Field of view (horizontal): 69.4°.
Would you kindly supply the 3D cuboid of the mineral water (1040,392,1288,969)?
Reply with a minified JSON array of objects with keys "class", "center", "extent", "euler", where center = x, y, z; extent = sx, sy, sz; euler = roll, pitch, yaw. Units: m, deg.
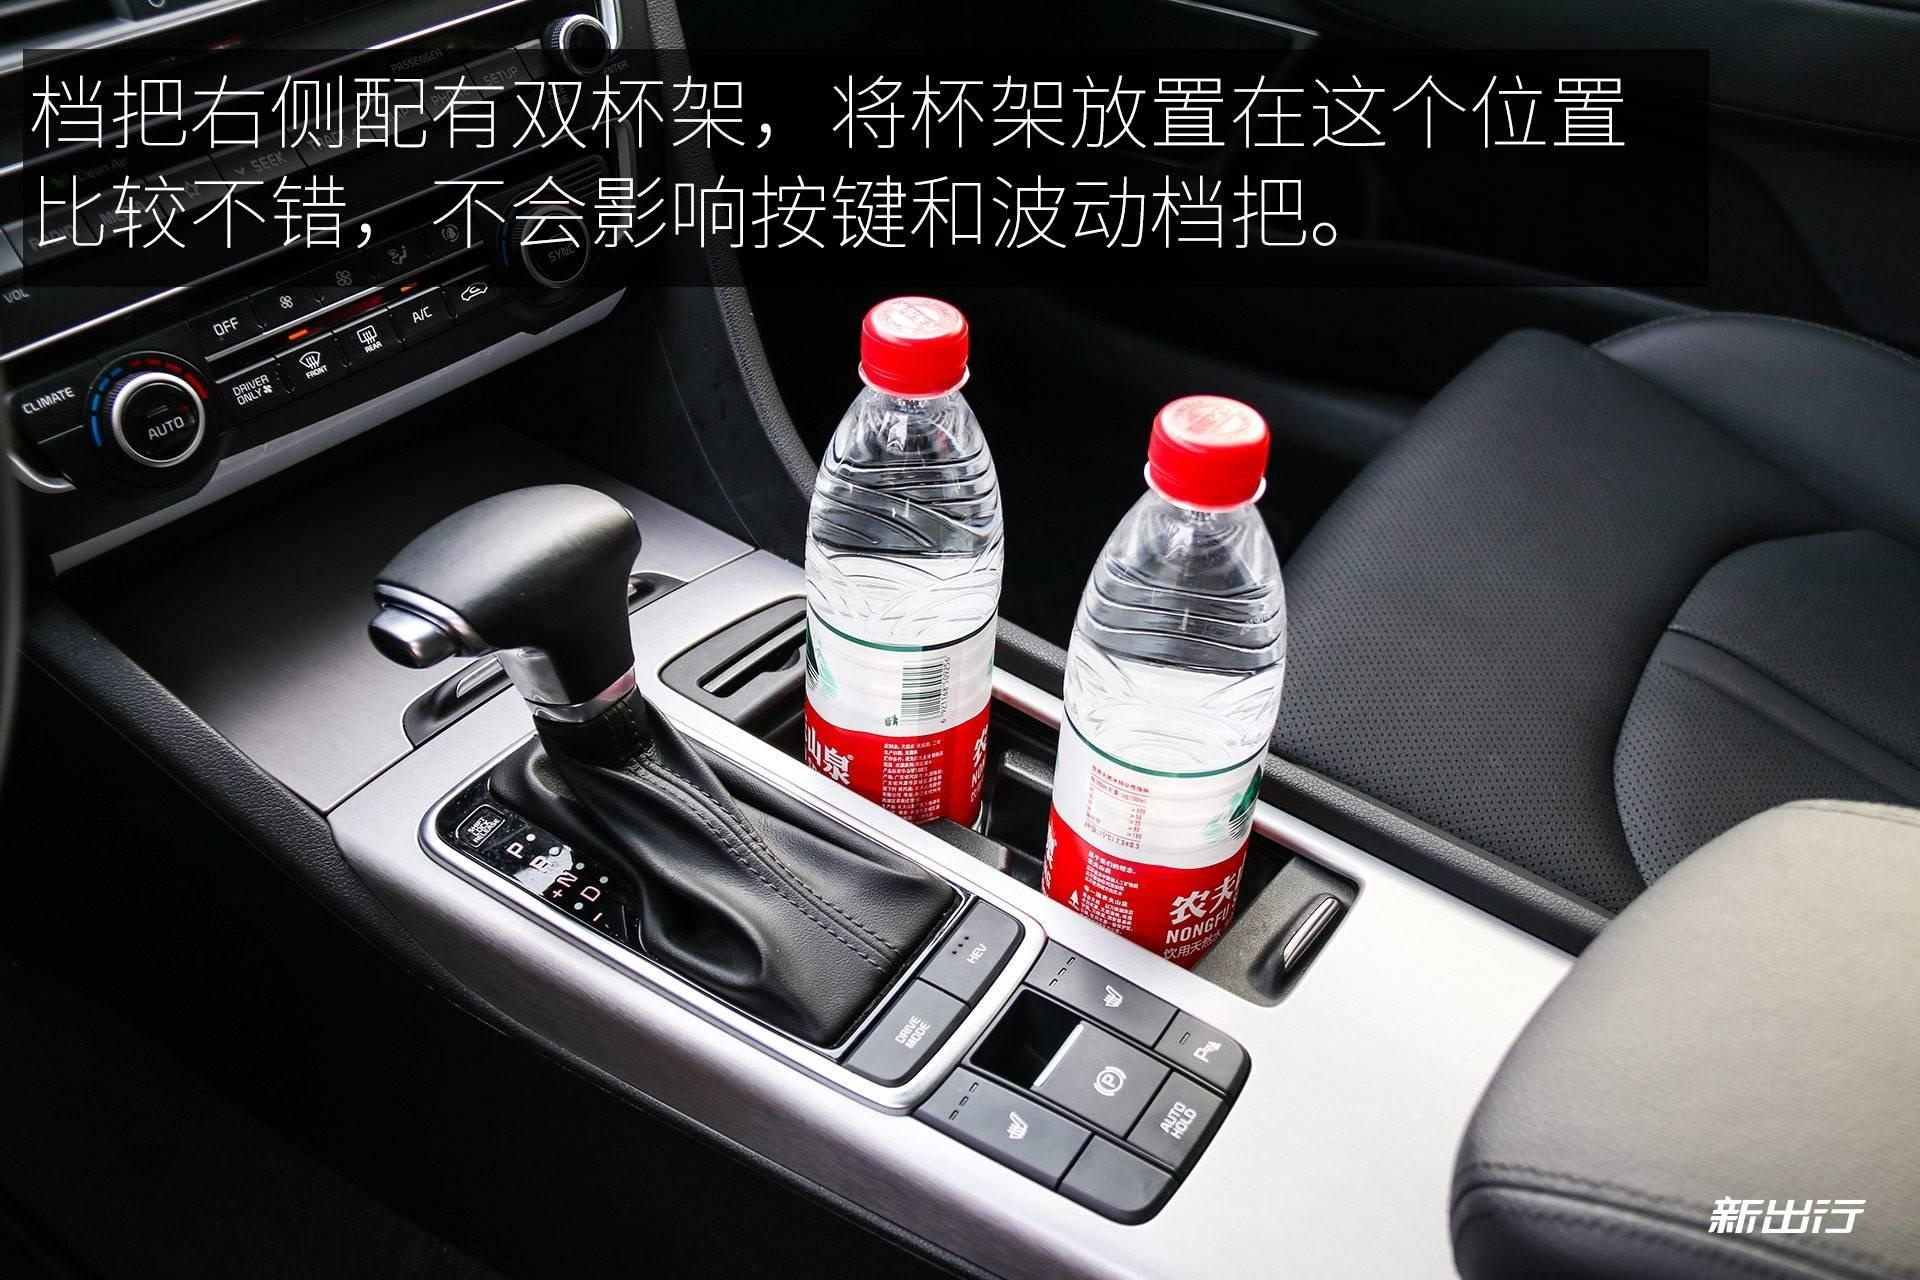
[{"class":"mineral water","center":[0.132,0.054,0.911],"extent":[0.130,0.420,0.134],"euler":[20,31,26]}]

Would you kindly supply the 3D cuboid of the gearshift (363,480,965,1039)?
[{"class":"gearshift","center":[-0.183,0.069,0.887],"extent":[0.336,0.248,0.188],"euler":[23,44,21]}]
